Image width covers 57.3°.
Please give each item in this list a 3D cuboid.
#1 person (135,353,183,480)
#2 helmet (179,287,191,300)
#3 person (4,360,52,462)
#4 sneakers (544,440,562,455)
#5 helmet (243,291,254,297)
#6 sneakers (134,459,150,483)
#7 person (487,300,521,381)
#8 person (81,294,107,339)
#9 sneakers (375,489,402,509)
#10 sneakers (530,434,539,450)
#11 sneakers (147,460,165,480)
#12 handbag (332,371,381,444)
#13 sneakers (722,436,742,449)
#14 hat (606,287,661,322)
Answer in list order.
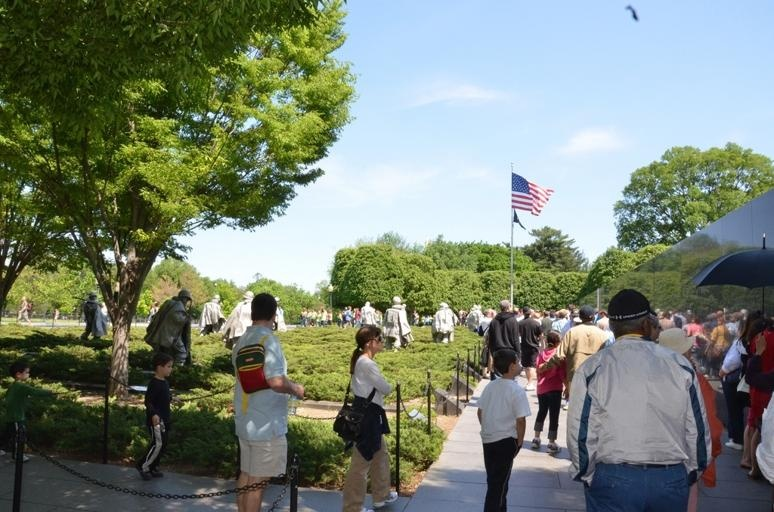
[{"bbox_3d":[-3.772,2.570,11.508,0.445,1.979,0.746,5,-9,-17],"label":"person"},{"bbox_3d":[-4.784,0.876,16.642,0.275,0.179,0.325,3,-11,-1],"label":"helmet"},{"bbox_3d":[-6.352,2.766,12.436,1.291,1.430,0.535,26,14,31],"label":"person"},{"bbox_3d":[3.011,3.469,12.846,0.122,0.176,0.292,3,-1,44],"label":"sneakers"},{"bbox_3d":[-3.571,0.975,17.895,0.240,0.092,0.241,5,-1,17],"label":"helmet"},{"bbox_3d":[-3.933,3.376,11.325,0.193,0.443,0.152,-10,-11,-4],"label":"sneakers"},{"bbox_3d":[2.635,2.074,16.399,0.762,2.053,0.726,-2,17,7],"label":"person"},{"bbox_3d":[-10.459,2.015,25.162,0.835,1.345,0.775,-10,19,-20],"label":"person"},{"bbox_3d":[-0.005,3.599,10.532,0.160,0.183,0.444,4,6,39],"label":"sneakers"},{"bbox_3d":[2.753,3.485,13.280,0.185,0.221,0.523,0,-11,18],"label":"sneakers"},{"bbox_3d":[-3.774,3.422,11.435,0.154,0.290,0.295,6,-5,24],"label":"sneakers"},{"bbox_3d":[-0.513,2.087,9.902,0.363,0.860,0.203,19,12,-2],"label":"handbag"},{"bbox_3d":[5.812,3.132,11.846,0.255,0.169,0.312,9,-12,-38],"label":"sneakers"},{"bbox_3d":[2.880,0.535,8.419,0.479,0.342,0.632,-11,-1,30],"label":"hat"}]
